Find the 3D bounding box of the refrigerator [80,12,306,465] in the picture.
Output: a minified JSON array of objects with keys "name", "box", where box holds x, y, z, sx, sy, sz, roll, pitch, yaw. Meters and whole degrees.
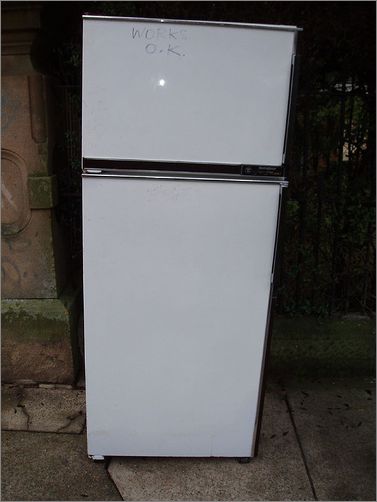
[{"name":"refrigerator","box":[-0.039,-0.017,2.465,0.969,2.059,0.797,5,17,6]}]
